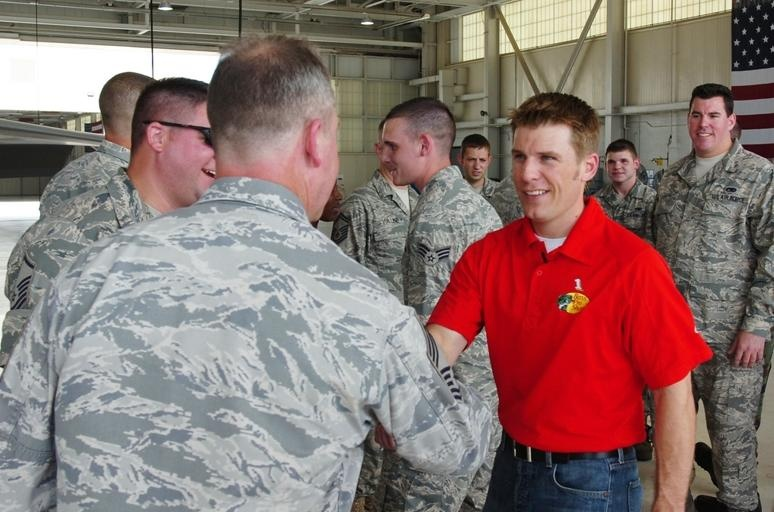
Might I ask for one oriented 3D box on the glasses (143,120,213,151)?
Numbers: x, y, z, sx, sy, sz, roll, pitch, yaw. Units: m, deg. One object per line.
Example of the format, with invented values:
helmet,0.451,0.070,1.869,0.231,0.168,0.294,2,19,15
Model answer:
glasses,-0.847,-0.492,3.122,0.225,0.061,0.218,5,0,-12
